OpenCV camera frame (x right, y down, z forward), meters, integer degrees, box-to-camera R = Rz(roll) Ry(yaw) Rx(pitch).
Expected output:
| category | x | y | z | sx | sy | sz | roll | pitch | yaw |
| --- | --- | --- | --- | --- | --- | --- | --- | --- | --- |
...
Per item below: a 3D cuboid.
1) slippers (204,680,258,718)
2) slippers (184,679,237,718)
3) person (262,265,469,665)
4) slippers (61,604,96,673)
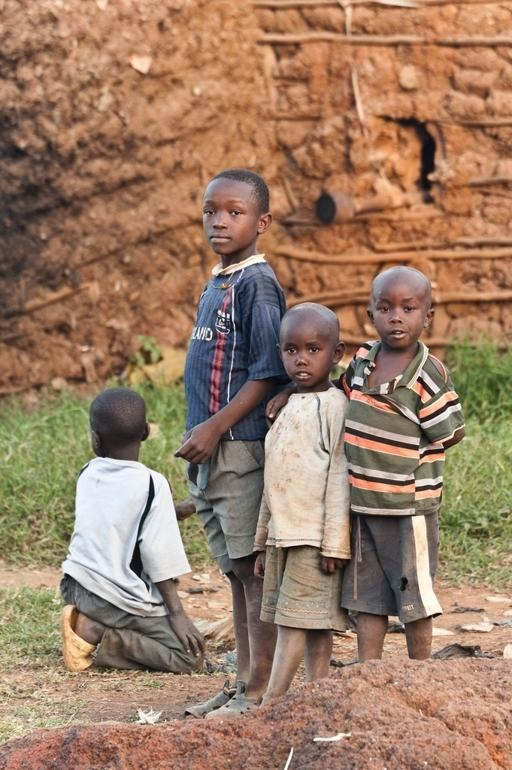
| category | x | y | z | sx | sy | sz | roll | pitch | yaw |
| --- | --- | --- | --- | --- | --- | --- | --- | --- | --- |
| slippers | -0.067 | 0.944 | 3.150 | 0.135 | 0.057 | 0.190 | -2 | 9 | 17 |
| slippers | -0.133 | 0.956 | 3.234 | 0.061 | 0.078 | 0.195 | -17 | -12 | 38 |
| person | 0.407 | 0.222 | 3.028 | 0.366 | 1.093 | 0.393 | -4 | 11 | 10 |
| slippers | -0.608 | 0.851 | 3.609 | 0.098 | 0.227 | 0.090 | 5 | -6 | 9 |
